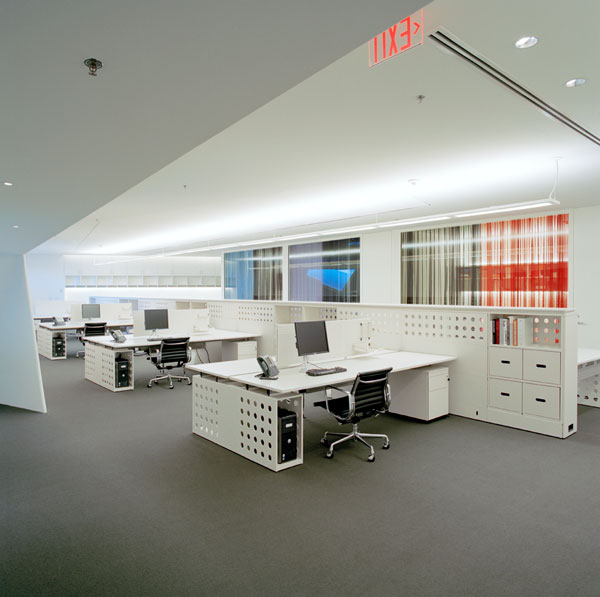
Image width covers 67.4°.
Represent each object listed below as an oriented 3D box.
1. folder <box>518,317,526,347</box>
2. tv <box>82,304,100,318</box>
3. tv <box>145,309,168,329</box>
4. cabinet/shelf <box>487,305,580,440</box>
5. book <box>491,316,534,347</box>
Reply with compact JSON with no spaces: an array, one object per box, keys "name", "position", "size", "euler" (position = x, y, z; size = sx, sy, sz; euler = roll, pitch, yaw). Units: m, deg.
[{"name":"folder","position":[2.711,0.407,5.459],"size":[0.048,0.435,0.290],"euler":[0,0,40]},{"name":"tv","position":[-5.480,0.338,11.810],"size":[0.455,0.374,0.241],"euler":[-1,2,-29]},{"name":"tv","position":[-2.581,0.371,8.062],"size":[0.287,0.292,0.043],"euler":[-1,0,-38]},{"name":"cabinet/shelf","position":[2.726,0.901,5.251],"size":[0.562,2.033,1.144],"euler":[3,-4,-42]},{"name":"book","position":[2.621,0.380,5.511],"size":[0.371,0.448,0.368],"euler":[0,0,4]}]
